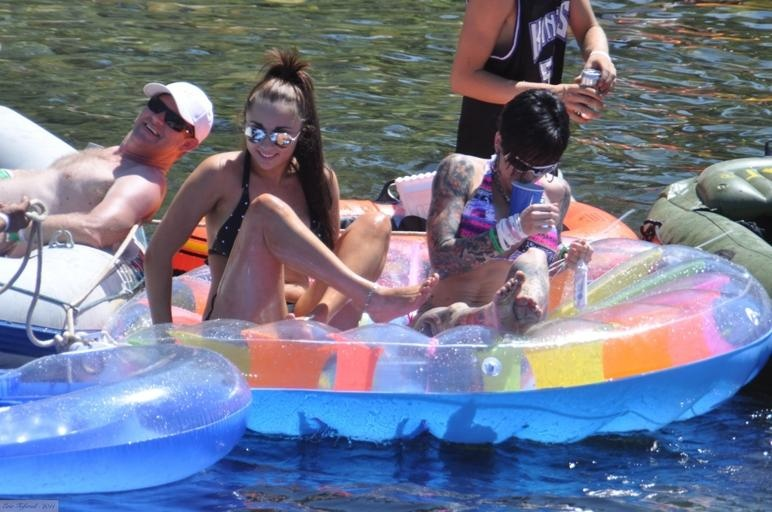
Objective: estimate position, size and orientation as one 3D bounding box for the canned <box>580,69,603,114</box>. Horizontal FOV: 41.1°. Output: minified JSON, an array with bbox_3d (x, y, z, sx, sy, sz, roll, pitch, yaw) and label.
[{"bbox_3d":[1.148,-0.937,5.686,0.129,0.129,0.126,20,35,17],"label":"canned"}]

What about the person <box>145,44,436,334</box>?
[{"bbox_3d":[-0.392,-0.243,5.337,1.609,1.333,0.873,-1,3,32],"label":"person"}]

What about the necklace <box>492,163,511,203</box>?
[{"bbox_3d":[0.602,-0.380,5.357,0.067,0.181,0.140,-19,24,-38],"label":"necklace"}]

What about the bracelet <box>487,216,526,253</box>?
[{"bbox_3d":[0.605,-0.112,5.147,0.078,0.194,0.157,20,48,-51],"label":"bracelet"}]

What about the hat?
[{"bbox_3d":[-1.182,-0.888,6.204,0.312,0.414,0.214,33,75,29],"label":"hat"}]
